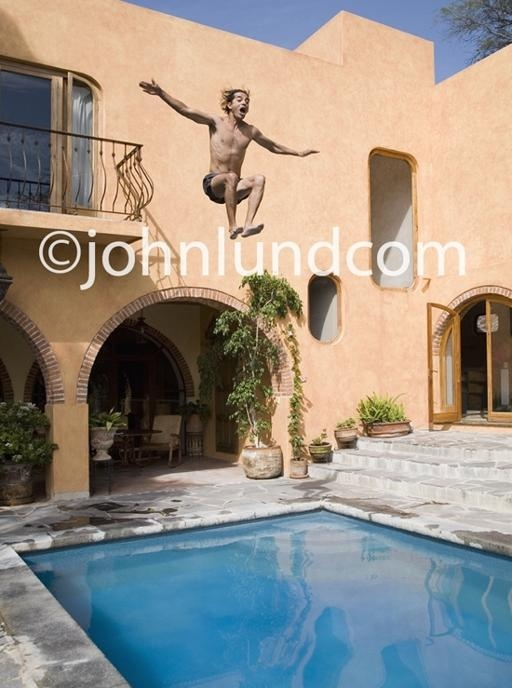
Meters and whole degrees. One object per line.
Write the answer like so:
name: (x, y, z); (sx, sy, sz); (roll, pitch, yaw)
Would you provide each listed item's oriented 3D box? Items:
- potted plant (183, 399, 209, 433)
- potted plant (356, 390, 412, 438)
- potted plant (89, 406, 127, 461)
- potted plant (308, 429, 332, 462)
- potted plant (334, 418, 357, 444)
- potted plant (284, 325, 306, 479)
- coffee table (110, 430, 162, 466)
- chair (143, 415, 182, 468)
potted plant: (-1.185, 1.343, 12.889); (0.553, 0.685, 0.647); (0, -1, -7)
potted plant: (2.072, 1.184, 10.677); (0.753, 0.604, 0.691); (1, -8, -23)
potted plant: (-2.017, 1.232, 8.752); (0.397, 0.698, 0.552); (-4, 1, -5)
potted plant: (0.956, 1.556, 9.985); (0.370, 0.521, 0.389); (0, -7, 1)
potted plant: (1.426, 1.410, 10.389); (0.429, 0.460, 0.317); (-4, 1, -17)
potted plant: (0.572, 0.798, 9.774); (0.275, 2.286, 0.764); (-4, 0, 4)
coffee table: (-2.341, 1.953, 12.371); (0.837, 0.509, 0.879); (0, -9, -3)
chair: (-1.717, 1.679, 12.123); (0.623, 0.945, 0.849); (-2, -6, 13)
